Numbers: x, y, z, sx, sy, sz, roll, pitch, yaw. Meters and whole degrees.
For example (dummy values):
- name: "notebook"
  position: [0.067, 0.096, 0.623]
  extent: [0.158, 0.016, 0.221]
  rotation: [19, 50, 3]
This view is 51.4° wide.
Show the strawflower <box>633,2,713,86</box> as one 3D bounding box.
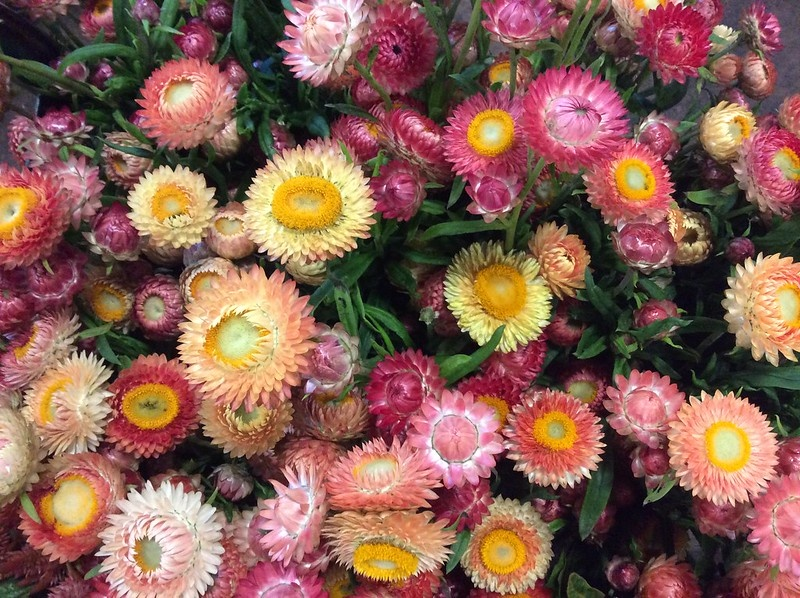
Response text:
- name: "strawflower"
  position: [0.619, -0.579, 1.862]
  extent: [0.156, 0.072, 0.183]
  rotation: [1, 81, -10]

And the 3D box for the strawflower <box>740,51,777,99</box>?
- name: "strawflower"
  position: [0.925, -0.567, 2.143]
  extent: [0.101, 0.067, 0.117]
  rotation: [2, 94, -40]

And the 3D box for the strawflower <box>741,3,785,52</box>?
- name: "strawflower"
  position: [0.939, -0.703, 2.160]
  extent: [0.096, 0.060, 0.137]
  rotation: [-9, 83, -5]

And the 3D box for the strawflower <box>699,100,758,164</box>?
- name: "strawflower"
  position: [0.784, -0.407, 2.050]
  extent: [0.138, 0.083, 0.140]
  rotation: [45, 74, -30]

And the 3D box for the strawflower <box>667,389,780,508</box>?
- name: "strawflower"
  position: [0.700, 0.322, 1.818]
  extent: [0.238, 0.088, 0.239]
  rotation: [-2, 82, -5]
